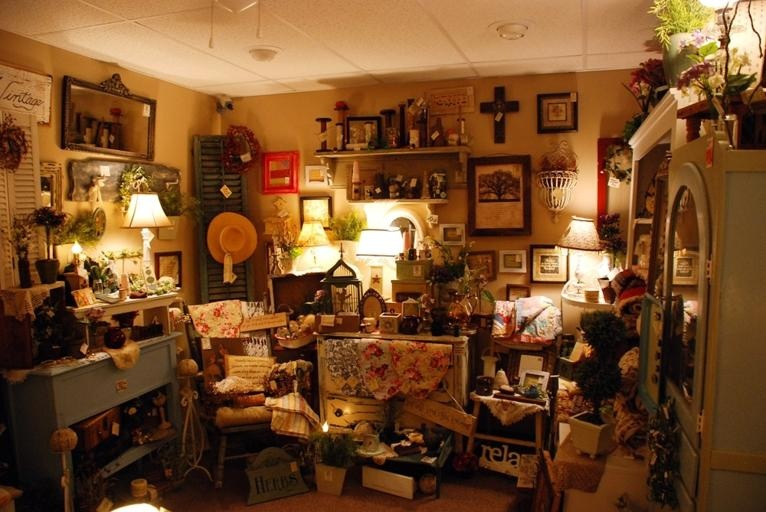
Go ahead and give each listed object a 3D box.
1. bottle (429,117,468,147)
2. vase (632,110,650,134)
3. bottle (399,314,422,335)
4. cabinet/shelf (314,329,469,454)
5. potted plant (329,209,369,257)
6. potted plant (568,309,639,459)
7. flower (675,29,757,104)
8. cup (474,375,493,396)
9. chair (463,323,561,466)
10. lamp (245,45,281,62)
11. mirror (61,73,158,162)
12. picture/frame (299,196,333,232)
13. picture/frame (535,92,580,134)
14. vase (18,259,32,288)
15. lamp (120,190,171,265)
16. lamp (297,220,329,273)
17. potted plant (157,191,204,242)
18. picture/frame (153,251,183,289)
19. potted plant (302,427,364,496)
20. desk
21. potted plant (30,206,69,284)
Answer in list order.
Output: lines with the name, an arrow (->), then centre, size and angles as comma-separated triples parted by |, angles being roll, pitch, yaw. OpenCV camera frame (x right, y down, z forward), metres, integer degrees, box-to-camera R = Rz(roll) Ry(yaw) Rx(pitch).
bottle -> 0.673, -1.291, 5.855 | 0.394, 0.324, 0.159 | -1, 5, 6
vase -> 2.145, -1.128, 4.741 | 0.098, 0.161, 0.272 | -1, 4, 13
bottle -> 0.255, 0.672, 5.486 | 0.148, 0.127, 0.192 | -3, -8, 26
cabinet/shelf -> 0.220, 1.116, 5.809 | 1.431, 1.025, 0.979 | 0, 0, 18
potted plant -> -0.331, -0.222, 6.312 | 0.539, 0.544, 0.455 | -1, -4, -1
potted plant -> 1.545, 0.809, 3.966 | 0.396, 0.952, 0.809 | 0, 5, 24
flower -> 1.821, -1.014, 3.115 | 0.368, 0.424, 0.363 | 1, 5, 33
cup -> 0.931, 1.206, 5.274 | 0.164, 0.152, 0.160 | 0, -1, 0
chair -> 1.222, 1.337, 5.445 | 0.778, 1.066, 0.713 | 0, 5, 21
lamp -> -1.050, -1.778, 5.052 | 0.268, 0.066, 0.360 | -3, 4, -14
mirror -> -2.605, -1.312, 5.370 | 0.042, 0.719, 0.988 | 10, 6, 28
picture/frame -> -0.720, -0.465, 6.311 | 0.402, 0.392, 0.029 | 1, 3, 9
picture/frame -> 1.736, -1.418, 5.629 | 0.437, 0.432, 0.033 | 1, 2, 11
vase -> -2.790, 0.131, 4.462 | 0.083, 0.229, 0.097 | -5, 6, -32
lamp -> -2.272, -0.270, 5.540 | 0.408, 0.696, 0.571 | -3, 5, -21
lamp -> -0.762, -0.127, 6.278 | 0.342, 0.535, 0.205 | -2, 5, -9
potted plant -> -2.119, -0.407, 6.112 | 0.463, 0.540, 0.546 | 1, 3, -1
picture/frame -> -2.218, 0.140, 5.871 | 0.038, 0.530, 0.396 | 2, 2, 34
potted plant -> -0.407, 1.800, 5.328 | 0.622, 0.647, 0.475 | 0, -4, 29
desk -> -2.420, 1.358, 4.656 | 0.553, 1.295, 1.535 | 1, 5, 25
potted plant -> -2.733, -0.094, 4.733 | 0.236, 0.616, 0.400 | -3, 5, -18
